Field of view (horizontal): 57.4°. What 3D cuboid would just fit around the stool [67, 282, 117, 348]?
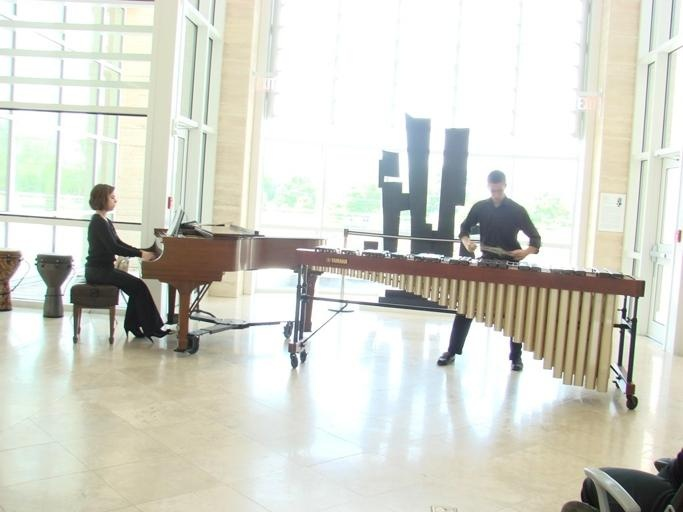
[{"bbox_3d":[-2.689,0.608,6.795,0.505,0.630,0.277,2,11,-9],"label":"stool"}]

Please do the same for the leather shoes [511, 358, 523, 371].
[{"bbox_3d":[1.925,1.174,6.813,0.130,0.114,0.180,7,11,17],"label":"leather shoes"}]

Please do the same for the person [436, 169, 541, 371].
[{"bbox_3d":[1.643,0.153,6.798,0.907,2.143,0.723,7,12,16],"label":"person"}]

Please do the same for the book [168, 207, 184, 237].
[{"bbox_3d":[-1.780,-0.354,6.781,0.076,0.273,0.152,3,-23,11],"label":"book"}]

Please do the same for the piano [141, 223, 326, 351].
[{"bbox_3d":[-1.245,0.379,6.998,1.616,0.977,1.414,2,-1,-6],"label":"piano"}]

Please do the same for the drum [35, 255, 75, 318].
[{"bbox_3d":[-3.471,0.349,7.578,0.396,0.782,0.219,-2,13,-28],"label":"drum"}]

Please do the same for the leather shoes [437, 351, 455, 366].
[{"bbox_3d":[1.153,1.129,6.829,0.094,0.105,0.269,-2,-4,34],"label":"leather shoes"}]
